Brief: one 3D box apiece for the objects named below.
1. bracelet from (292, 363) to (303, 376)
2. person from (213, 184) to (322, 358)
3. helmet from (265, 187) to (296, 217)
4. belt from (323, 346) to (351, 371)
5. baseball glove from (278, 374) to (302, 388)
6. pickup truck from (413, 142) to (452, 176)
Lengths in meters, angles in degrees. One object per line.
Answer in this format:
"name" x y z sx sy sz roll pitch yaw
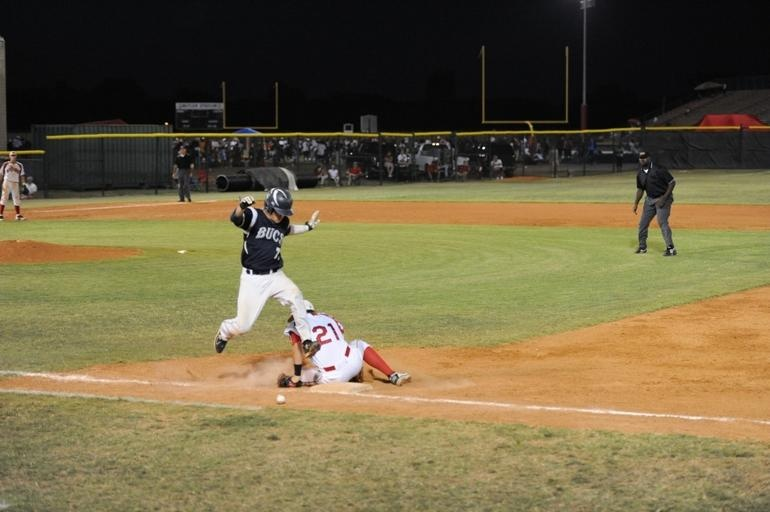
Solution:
"bracelet" -1.055 1.387 9.981 0.157 0.135 0.133 1 11 -5
"person" -1.433 0.190 10.218 1.207 1.948 1.305 0 1 -42
"helmet" -1.298 -0.655 9.940 0.316 0.352 0.331 -3 6 -8
"belt" -0.554 1.240 9.752 0.314 0.077 0.243 -35 15 -30
"baseball glove" -1.102 1.511 9.847 0.342 0.132 0.108 2 39 6
"pickup truck" 2.481 -5.365 44.944 2.245 1.844 3.330 -9 9 -12
